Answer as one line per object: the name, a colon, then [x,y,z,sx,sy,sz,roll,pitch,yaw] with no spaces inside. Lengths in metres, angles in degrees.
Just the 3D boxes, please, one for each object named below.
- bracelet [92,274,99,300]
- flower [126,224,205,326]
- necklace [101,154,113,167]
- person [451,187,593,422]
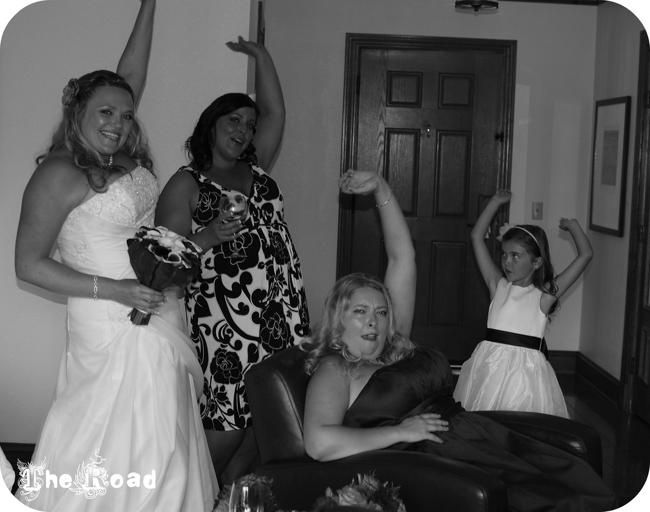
bracelet: [-0.862,0.121,2.274,0.020,0.088,0.032,-1,6,-39]
flower: [-0.617,0.024,2.334,0.280,0.254,0.197,2,5,-18]
necklace: [-0.843,-0.369,2.357,0.036,0.048,0.048,-1,23,5]
person: [1.132,0.536,3.550,0.595,1.768,0.490,9,13,27]
